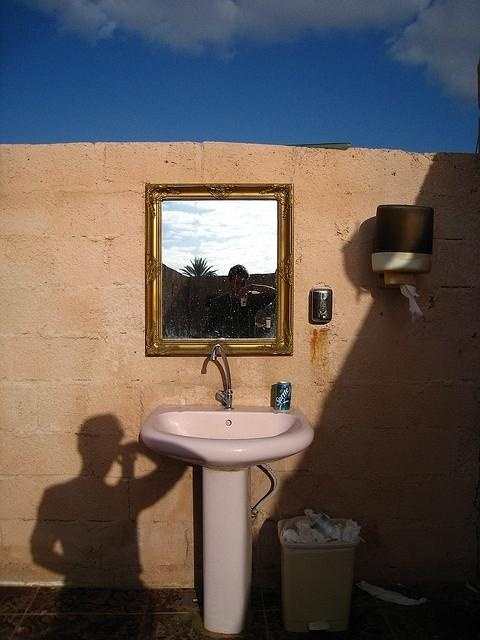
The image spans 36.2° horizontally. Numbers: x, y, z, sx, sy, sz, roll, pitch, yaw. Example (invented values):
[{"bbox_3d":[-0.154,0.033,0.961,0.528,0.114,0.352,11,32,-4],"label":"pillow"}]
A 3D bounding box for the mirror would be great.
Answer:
[{"bbox_3d":[-0.096,-0.233,3.325,0.980,0.882,0.063,0,0,2],"label":"mirror"}]

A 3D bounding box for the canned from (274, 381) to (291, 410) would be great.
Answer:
[{"bbox_3d":[0.197,0.335,3.279,0.074,0.122,0.091,0,4,-1],"label":"canned"}]

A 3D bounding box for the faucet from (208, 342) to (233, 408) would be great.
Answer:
[{"bbox_3d":[-0.078,0.246,3.286,0.102,0.283,0.136,0,4,-2],"label":"faucet"}]

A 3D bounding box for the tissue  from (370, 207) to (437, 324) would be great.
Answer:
[{"bbox_3d":[0.700,-0.248,3.325,0.333,0.442,0.277,1,-5,2],"label":"tissue "}]

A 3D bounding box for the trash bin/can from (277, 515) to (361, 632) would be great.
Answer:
[{"bbox_3d":[0.347,1.082,3.204,0.348,0.460,0.249,0,4,2],"label":"trash bin/can"}]
